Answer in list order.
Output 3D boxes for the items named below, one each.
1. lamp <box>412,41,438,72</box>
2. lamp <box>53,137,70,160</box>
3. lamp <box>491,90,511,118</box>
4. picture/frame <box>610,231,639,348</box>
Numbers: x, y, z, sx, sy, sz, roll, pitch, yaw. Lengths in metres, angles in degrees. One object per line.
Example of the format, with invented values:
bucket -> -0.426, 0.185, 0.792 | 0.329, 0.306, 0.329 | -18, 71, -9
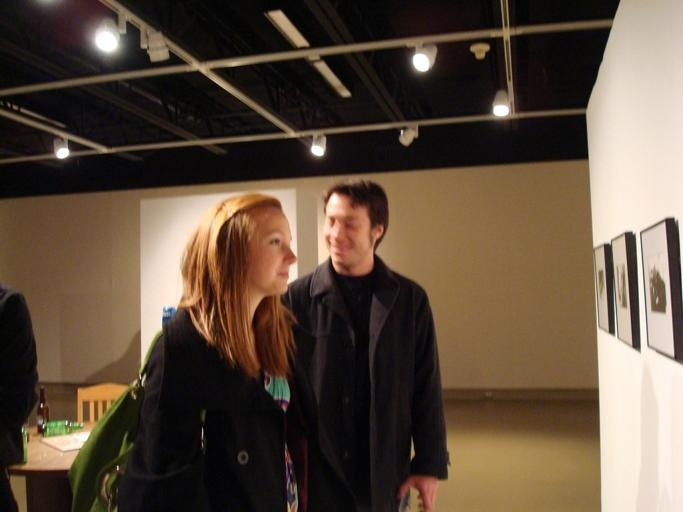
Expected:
lamp -> 0.698, -1.656, 4.780 | 0.231, 0.219, 0.187 | -3, 5, -17
lamp -> -3.403, -1.328, 7.020 | 0.144, 0.238, 0.306 | -4, 5, -30
lamp -> 1.583, -1.520, 5.685 | 0.136, 0.276, 0.369 | 1, 5, 21
picture/frame -> 1.877, 0.203, 3.808 | 0.048, 0.832, 0.735 | -1, -2, 16
